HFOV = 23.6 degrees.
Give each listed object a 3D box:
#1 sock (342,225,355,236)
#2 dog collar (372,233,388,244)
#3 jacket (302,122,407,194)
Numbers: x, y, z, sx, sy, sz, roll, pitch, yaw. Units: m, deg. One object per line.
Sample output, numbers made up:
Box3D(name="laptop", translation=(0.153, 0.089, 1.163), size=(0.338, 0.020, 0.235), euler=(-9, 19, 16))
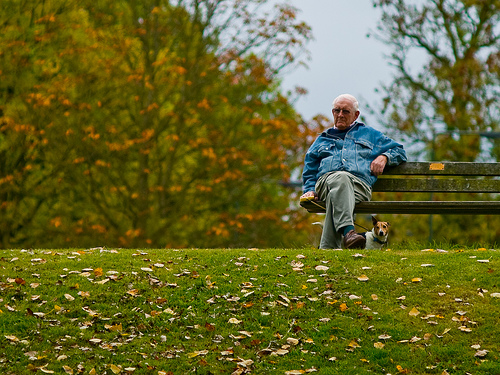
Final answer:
Box3D(name="sock", translation=(1.334, 0.555, 16.173), size=(0.162, 0.165, 0.105), euler=(-7, -6, 40))
Box3D(name="dog collar", translation=(1.818, 0.698, 16.653), size=(0.200, 0.146, 0.137), euler=(0, 3, -8))
Box3D(name="jacket", translation=(1.464, -0.444, 16.873), size=(1.453, 1.121, 0.713), euler=(-3, -21, 8))
